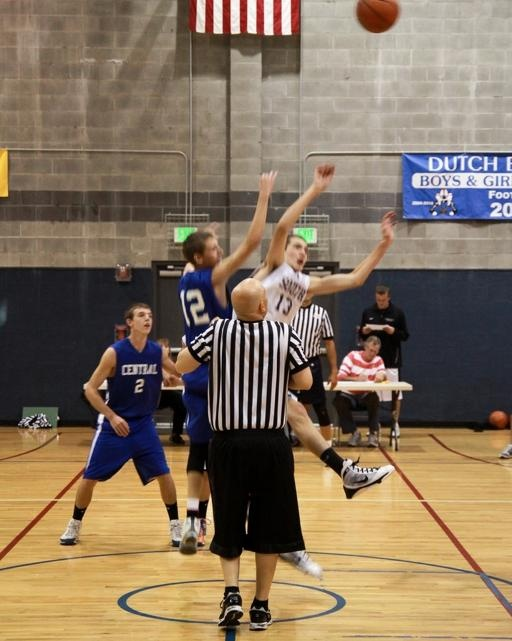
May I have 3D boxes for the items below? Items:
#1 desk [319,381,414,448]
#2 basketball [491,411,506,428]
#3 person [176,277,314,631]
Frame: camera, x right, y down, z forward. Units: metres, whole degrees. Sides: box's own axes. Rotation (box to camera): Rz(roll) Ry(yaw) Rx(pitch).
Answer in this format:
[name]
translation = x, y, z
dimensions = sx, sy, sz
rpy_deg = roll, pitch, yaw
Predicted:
[desk]
translation = 1.234, 1.035, 11.876
dimensions = 0.933, 0.677, 0.775
rpy_deg = 0, 3, 8
[basketball]
translation = 3.178, 1.312, 13.781
dimensions = 0.239, 0.234, 0.190
rpy_deg = 0, 5, 9
[person]
translation = -0.035, 0.859, 5.738
dimensions = 0.640, 1.718, 0.299
rpy_deg = 0, 5, 2
